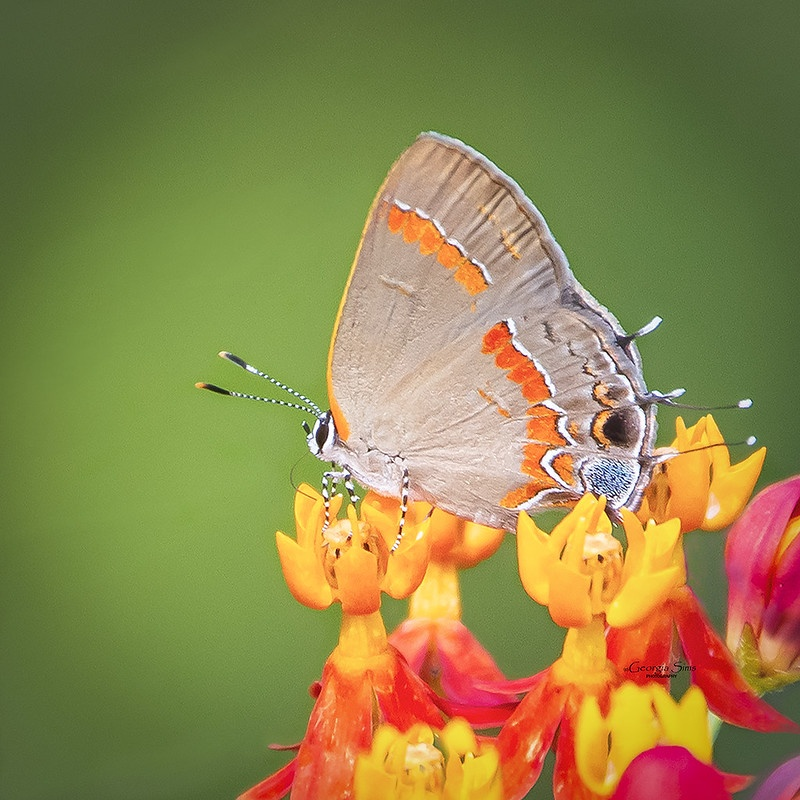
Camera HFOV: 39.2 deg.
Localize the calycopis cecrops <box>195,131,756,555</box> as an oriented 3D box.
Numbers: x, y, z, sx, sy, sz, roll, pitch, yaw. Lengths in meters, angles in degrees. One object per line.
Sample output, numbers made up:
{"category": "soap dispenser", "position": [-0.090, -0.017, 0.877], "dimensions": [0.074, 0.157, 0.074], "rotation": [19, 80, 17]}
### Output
{"category": "calycopis cecrops", "position": [0.075, -0.064, 1.111], "dimensions": [0.471, 0.292, 0.412], "rotation": [5, -85, 8]}
